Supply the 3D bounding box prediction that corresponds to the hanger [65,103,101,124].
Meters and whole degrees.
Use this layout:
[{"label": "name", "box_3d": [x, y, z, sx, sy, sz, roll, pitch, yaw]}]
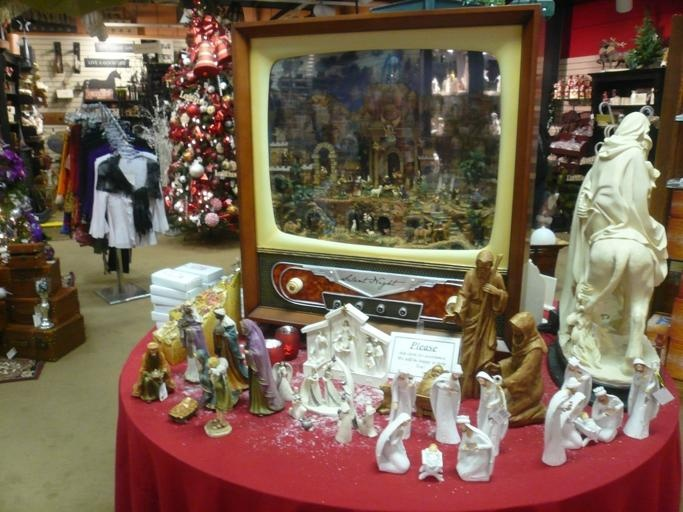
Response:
[{"label": "hanger", "box_3d": [-2.368, -1.285, 4.799, 0.325, 0.123, 0.213, -13, 37, -26]}]
